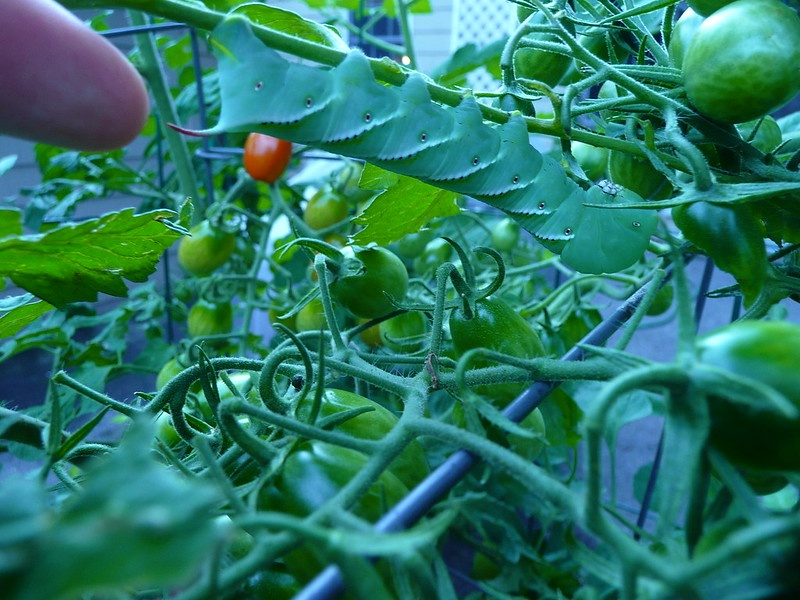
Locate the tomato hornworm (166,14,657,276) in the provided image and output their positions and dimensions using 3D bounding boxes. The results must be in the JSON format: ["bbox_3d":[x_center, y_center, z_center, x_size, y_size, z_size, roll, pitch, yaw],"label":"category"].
[{"bbox_3d":[0.033,-0.088,0.432,0.281,0.090,0.051,16,23,-14],"label":"tomato hornworm"}]
